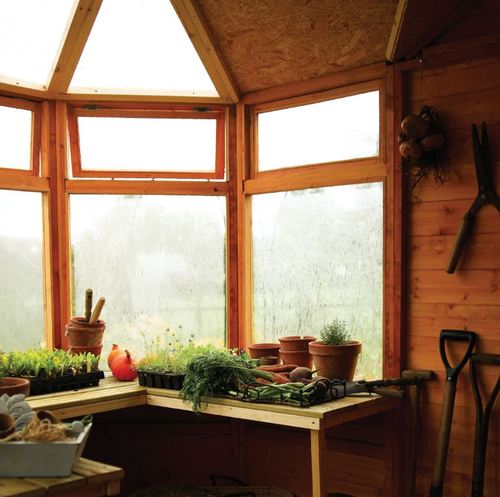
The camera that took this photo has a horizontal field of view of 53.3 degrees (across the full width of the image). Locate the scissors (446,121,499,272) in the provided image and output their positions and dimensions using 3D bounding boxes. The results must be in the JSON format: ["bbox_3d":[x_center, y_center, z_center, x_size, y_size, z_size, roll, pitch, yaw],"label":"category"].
[{"bbox_3d":[1.138,-0.268,2.563,0.267,0.772,0.103,-4,-6,45],"label":"scissors"}]

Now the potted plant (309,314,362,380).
[{"bbox_3d":[0.481,0.579,2.854,0.315,0.339,0.297,-1,-6,4],"label":"potted plant"}]

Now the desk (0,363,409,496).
[{"bbox_3d":[-0.162,0.934,2.621,1.837,0.417,0.919,-2,-5,16],"label":"desk"}]
